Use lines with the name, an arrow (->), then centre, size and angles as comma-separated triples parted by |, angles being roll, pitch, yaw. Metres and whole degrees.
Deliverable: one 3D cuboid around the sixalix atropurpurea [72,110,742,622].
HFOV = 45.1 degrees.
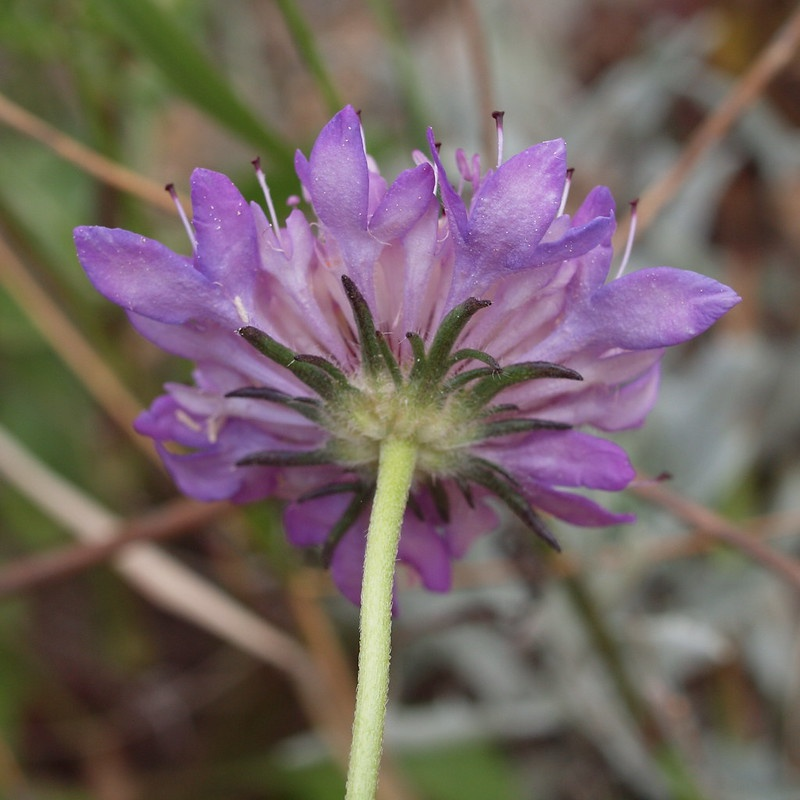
sixalix atropurpurea -> 0.024, -0.018, 0.622 | 0.369, 0.273, 0.131 | -14, 7, 10
